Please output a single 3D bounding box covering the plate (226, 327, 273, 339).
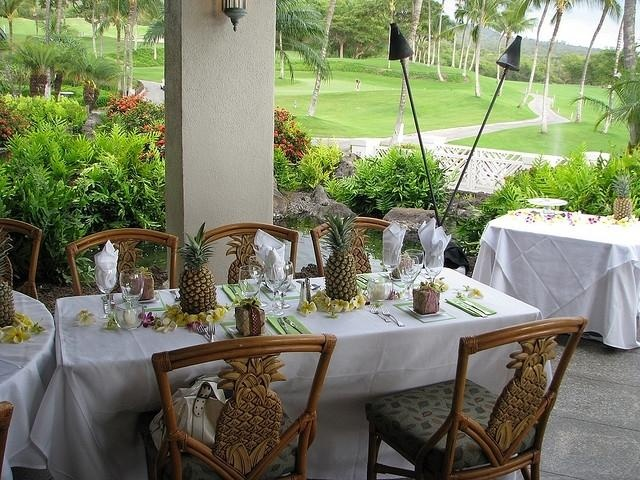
[{"bbox_3d":[-0.303,0.367,1.840,0.093,0.018,0.101,2,6,1],"label":"plate"}]

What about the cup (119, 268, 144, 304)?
[{"bbox_3d":[-0.769,0.187,1.940,0.113,0.138,0.111,0,13,0],"label":"cup"}]

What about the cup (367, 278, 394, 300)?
[{"bbox_3d":[0.289,0.235,2.221,0.102,0.084,0.103,0,6,0],"label":"cup"}]

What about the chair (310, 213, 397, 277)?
[{"bbox_3d":[0.241,-0.048,2.834,0.419,0.708,0.361,-5,6,-35],"label":"chair"}]

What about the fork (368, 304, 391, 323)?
[{"bbox_3d":[0.265,0.324,2.042,0.034,0.020,0.131,-10,22,-10],"label":"fork"}]

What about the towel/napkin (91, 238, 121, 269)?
[{"bbox_3d":[-0.902,0.068,1.983,0.110,0.145,0.098,9,-17,-28],"label":"towel/napkin"}]

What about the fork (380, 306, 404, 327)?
[{"bbox_3d":[0.311,0.336,1.997,0.030,0.030,0.191,-6,21,-11],"label":"fork"}]

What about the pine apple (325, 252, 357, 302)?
[{"bbox_3d":[0.093,0.161,2.140,0.134,0.224,0.128,-8,20,-41],"label":"pine apple"}]

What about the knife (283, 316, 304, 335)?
[{"bbox_3d":[-0.112,0.349,1.895,0.036,0.013,0.140,-10,21,-16],"label":"knife"}]

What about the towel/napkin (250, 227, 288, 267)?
[{"bbox_3d":[-0.229,0.043,2.085,0.181,0.183,0.145,10,13,19],"label":"towel/napkin"}]

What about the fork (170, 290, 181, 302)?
[{"bbox_3d":[-0.681,0.262,2.164,0.056,0.021,0.100,5,12,-9],"label":"fork"}]

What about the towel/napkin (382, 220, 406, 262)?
[{"bbox_3d":[0.361,0.010,2.270,0.100,0.202,0.201,5,13,8],"label":"towel/napkin"}]

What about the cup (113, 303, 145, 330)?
[{"bbox_3d":[-0.783,0.315,1.905,0.101,0.088,0.115,8,11,35],"label":"cup"}]

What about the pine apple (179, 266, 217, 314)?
[{"bbox_3d":[-0.494,0.192,1.977,0.172,0.295,0.176,-1,11,-10],"label":"pine apple"}]
